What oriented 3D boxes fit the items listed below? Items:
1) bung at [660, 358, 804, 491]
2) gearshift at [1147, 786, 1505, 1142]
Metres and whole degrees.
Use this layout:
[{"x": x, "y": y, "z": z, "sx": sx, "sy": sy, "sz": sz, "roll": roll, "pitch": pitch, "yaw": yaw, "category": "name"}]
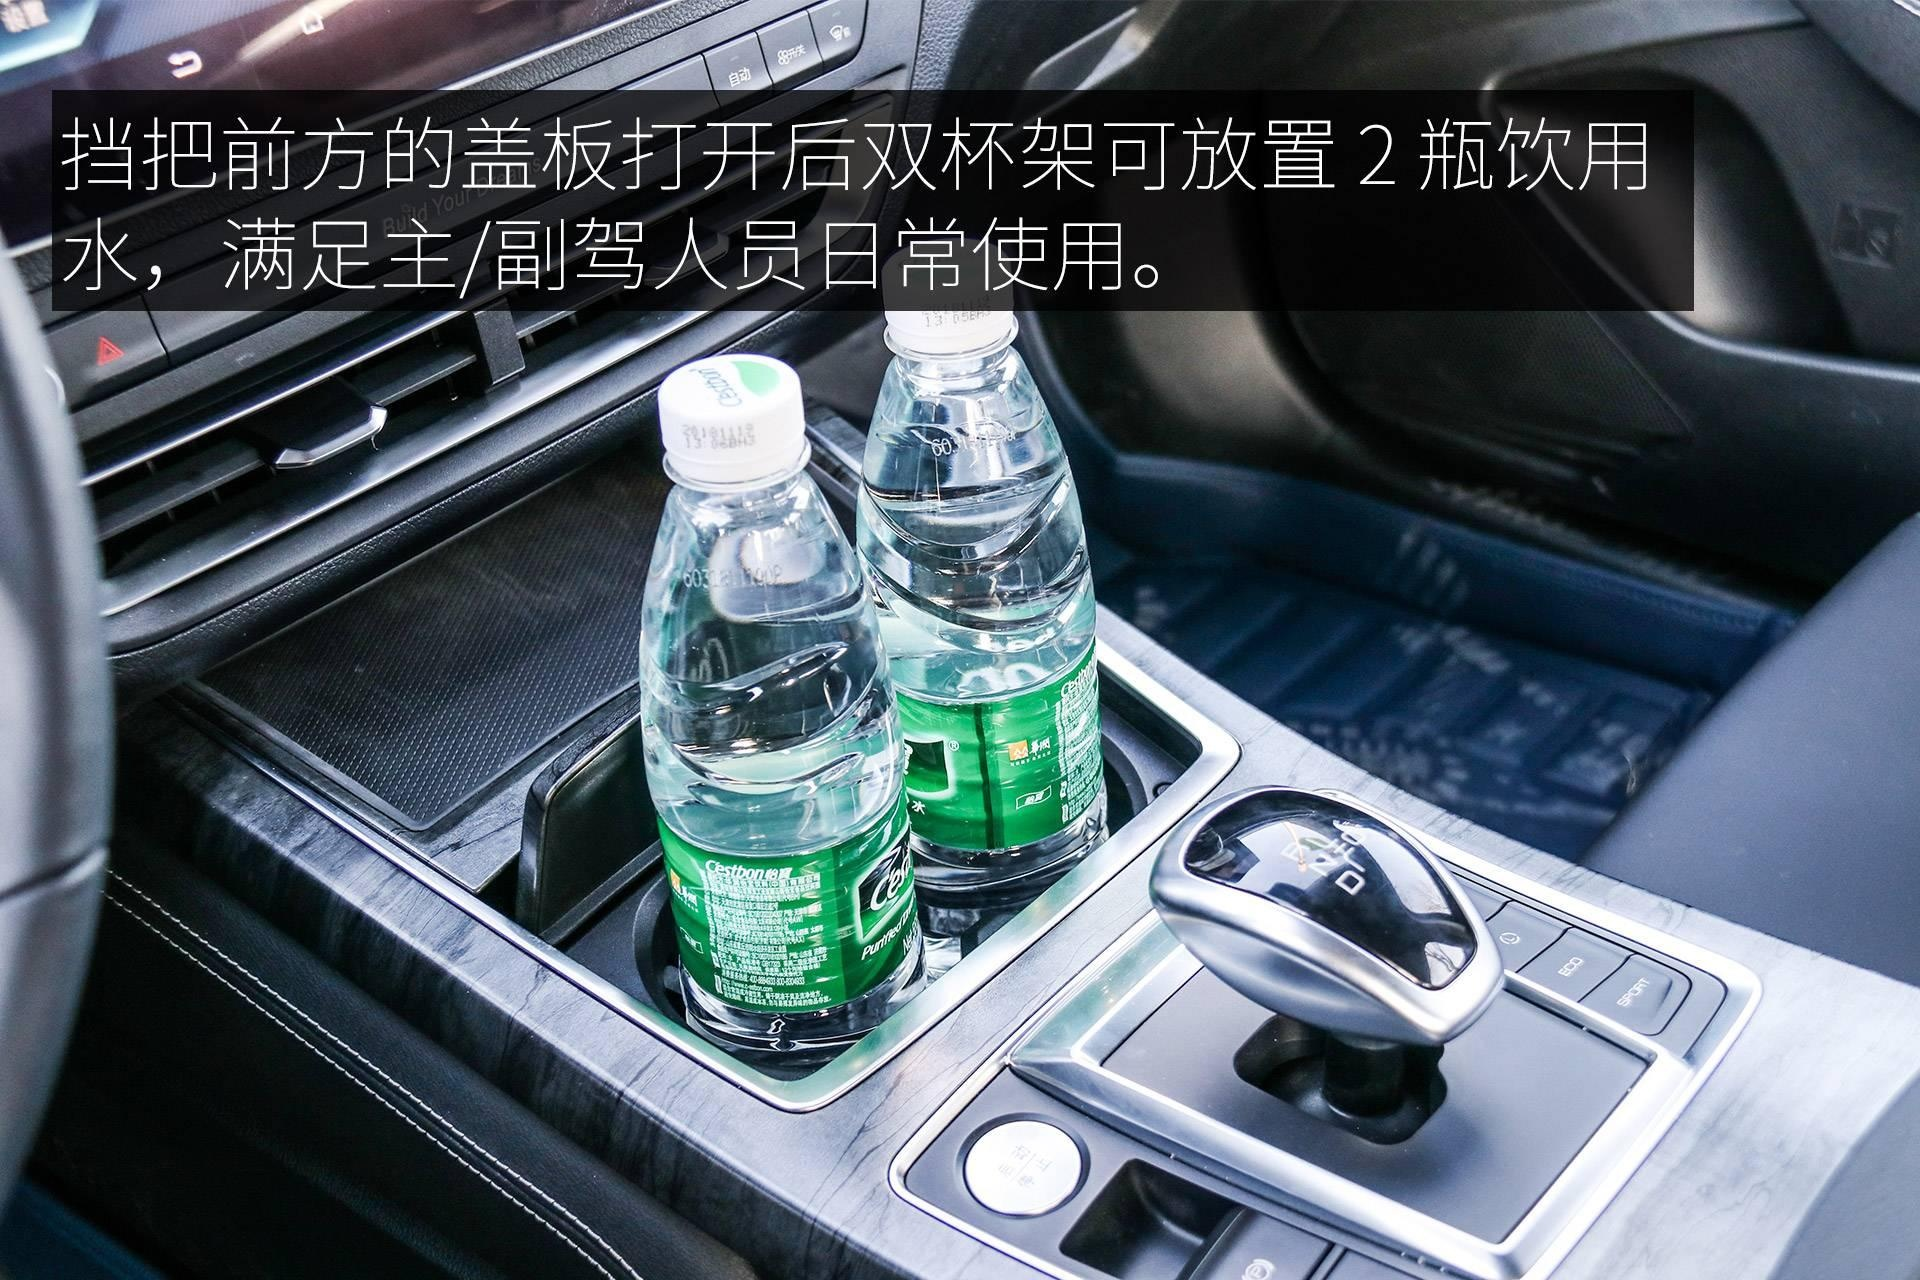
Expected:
[{"x": -0.104, "y": -0.111, "z": 0.670, "sx": 0.060, "sy": 0.037, "sz": 0.063, "roll": 10, "pitch": 37, "yaw": 19, "category": "bung"}, {"x": 0.196, "y": 0.179, "z": 0.737, "sx": 0.168, "sy": 0.169, "sz": 0.113, "roll": 15, "pitch": 35, "yaw": 39, "category": "gearshift"}]
